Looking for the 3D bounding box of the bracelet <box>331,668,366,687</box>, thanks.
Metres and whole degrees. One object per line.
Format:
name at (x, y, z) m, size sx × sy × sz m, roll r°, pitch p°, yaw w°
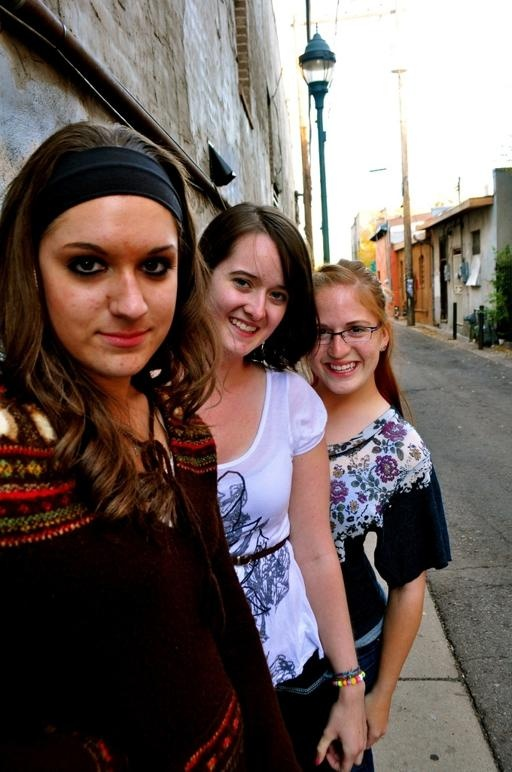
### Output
bracelet at (0.217, 0.690, 1.518) m, size 0.072 × 0.040 × 0.034 m, roll -9°, pitch 11°, yaw -5°
